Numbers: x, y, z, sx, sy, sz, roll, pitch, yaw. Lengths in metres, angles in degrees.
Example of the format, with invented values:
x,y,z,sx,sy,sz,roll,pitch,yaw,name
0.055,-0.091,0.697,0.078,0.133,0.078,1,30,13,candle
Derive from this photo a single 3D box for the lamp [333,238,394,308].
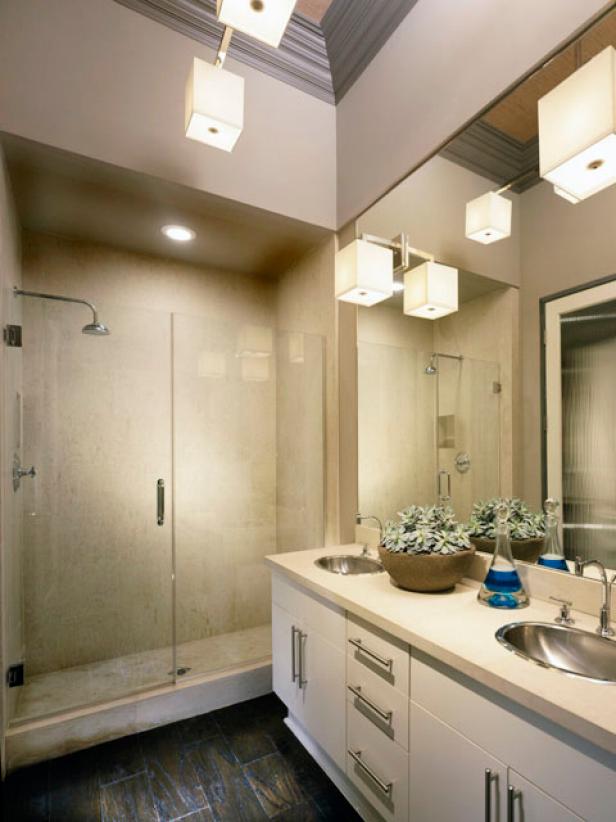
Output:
x,y,z,sx,sy,sz,roll,pitch,yaw,name
0.225,-0.521,2.605,0.224,0.260,0.225,12,-19,-35,lamp

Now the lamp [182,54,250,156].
x,y,z,sx,sy,sz,roll,pitch,yaw,name
-0.334,-1.096,2.264,0.187,0.249,0.162,-2,3,-26,lamp

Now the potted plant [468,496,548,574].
x,y,z,sx,sy,sz,roll,pitch,yaw,name
0.660,0.386,2.089,0.130,0.143,0.186,6,-12,-14,potted plant

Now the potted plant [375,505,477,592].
x,y,z,sx,sy,sz,roll,pitch,yaw,name
0.391,0.455,2.170,0.228,0.216,0.273,-1,-11,8,potted plant

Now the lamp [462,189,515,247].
x,y,z,sx,sy,sz,roll,pitch,yaw,name
0.614,-0.650,2.173,0.134,0.159,0.138,8,-11,-35,lamp
